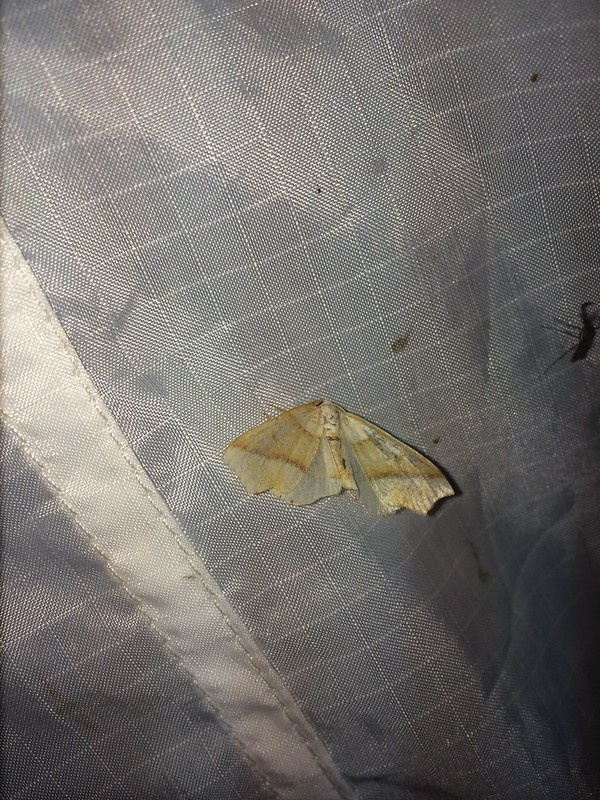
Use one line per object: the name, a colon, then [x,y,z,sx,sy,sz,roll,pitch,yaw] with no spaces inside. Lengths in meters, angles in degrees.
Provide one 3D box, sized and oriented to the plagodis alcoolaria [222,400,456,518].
plagodis alcoolaria: [0.069,0.134,2.096,0.590,0.232,0.141,4,-6,-4]
